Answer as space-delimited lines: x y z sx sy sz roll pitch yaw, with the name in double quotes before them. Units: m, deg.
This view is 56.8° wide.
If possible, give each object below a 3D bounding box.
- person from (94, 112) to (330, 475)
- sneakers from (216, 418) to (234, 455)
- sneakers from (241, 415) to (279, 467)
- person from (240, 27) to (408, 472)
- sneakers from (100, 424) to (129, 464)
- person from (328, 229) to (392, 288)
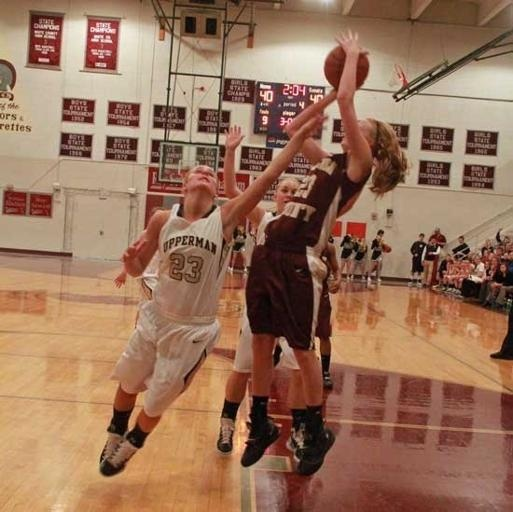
"person" -0.280 0.191 2.091 0.739 1.429 0.392 2 7 -23
"sneakers" -0.158 0.904 2.341 0.054 0.084 0.178 2 2 -2
"sneakers" 0.016 0.882 2.233 0.160 0.244 0.076 40 -13 -28
"person" 0.314 0.015 2.179 0.569 2.004 0.502 12 -7 -4
"sneakers" -0.611 0.804 2.046 0.061 0.084 0.202 20 27 -3
"person" 2.993 -0.030 13.509 1.391 1.937 0.880 1 -12 -2
